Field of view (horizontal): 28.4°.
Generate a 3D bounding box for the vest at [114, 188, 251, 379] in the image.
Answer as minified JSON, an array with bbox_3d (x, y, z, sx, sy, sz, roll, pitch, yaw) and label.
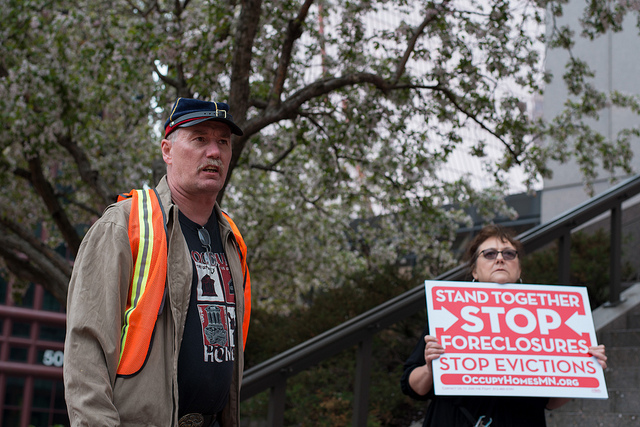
[{"bbox_3d":[-2.427,0.891,17.099,0.666,2.387,0.868,1,-27,-9],"label":"vest"}]
